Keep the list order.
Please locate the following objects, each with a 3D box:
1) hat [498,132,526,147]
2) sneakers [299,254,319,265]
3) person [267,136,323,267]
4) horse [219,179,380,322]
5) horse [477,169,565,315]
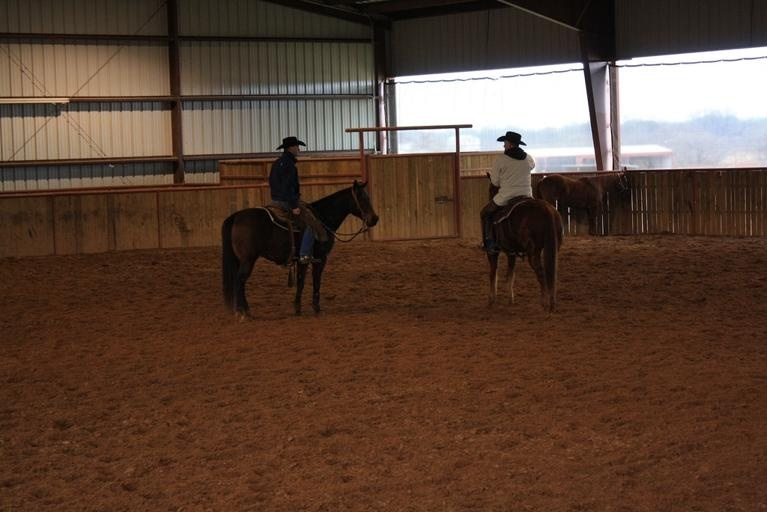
[{"bbox_3d":[2.076,-1.910,12.077,0.346,0.209,0.330,-4,9,-11],"label":"hat"},{"bbox_3d":[-1.225,0.050,12.147,0.357,0.206,0.137,-4,9,-2],"label":"sneakers"},{"bbox_3d":[-1.422,-0.863,11.963,0.807,2.062,0.447,-3,7,-11],"label":"person"},{"bbox_3d":[-1.375,-0.105,12.362,2.451,2.528,0.828,-1,18,-16],"label":"horse"},{"bbox_3d":[2.184,-0.184,12.510,0.590,2.142,2.546,2,-1,-19],"label":"horse"}]
